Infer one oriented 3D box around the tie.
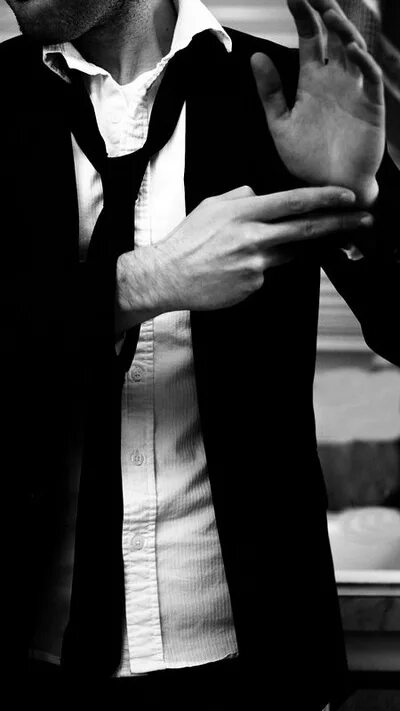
[{"bbox_3d":[-0.149,-0.302,1.387,0.196,0.620,0.059,-7,56,-13],"label":"tie"}]
